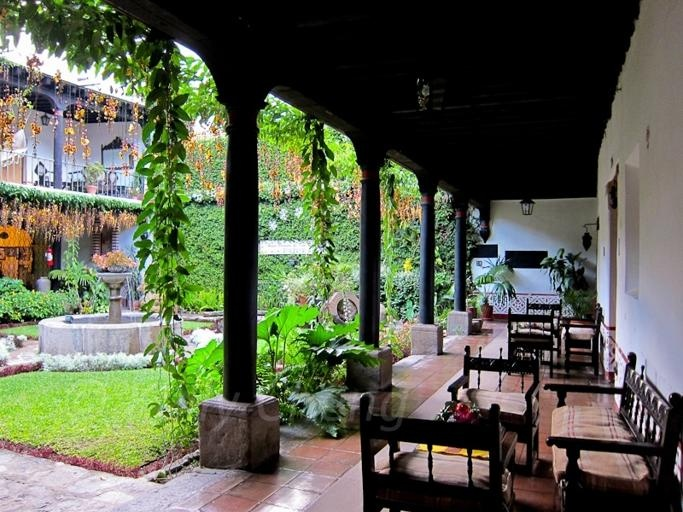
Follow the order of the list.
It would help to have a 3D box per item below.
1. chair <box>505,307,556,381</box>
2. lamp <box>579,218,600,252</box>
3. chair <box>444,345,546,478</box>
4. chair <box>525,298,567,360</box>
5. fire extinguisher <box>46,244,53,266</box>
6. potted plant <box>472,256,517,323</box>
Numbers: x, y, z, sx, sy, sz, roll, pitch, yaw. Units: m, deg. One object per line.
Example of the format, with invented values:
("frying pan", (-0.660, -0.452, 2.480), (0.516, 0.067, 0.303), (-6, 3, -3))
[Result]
("chair", (2.831, 1.544, 7.888), (0.589, 0.795, 1.126), (6, -3, 20))
("lamp", (6.007, -0.478, 12.370), (0.295, 0.755, 1.012), (1, 4, 20))
("chair", (1.349, 1.328, 4.473), (0.678, 1.004, 0.606), (-1, -3, 28))
("chair", (3.351, 1.205, 8.381), (0.683, 1.316, 0.792), (1, 7, 24))
("fire extinguisher", (-9.690, -0.016, 17.043), (0.200, 0.688, 0.189), (3, 5, 43))
("potted plant", (4.017, 0.814, 13.444), (1.141, 1.512, 0.755), (0, 4, 16))
